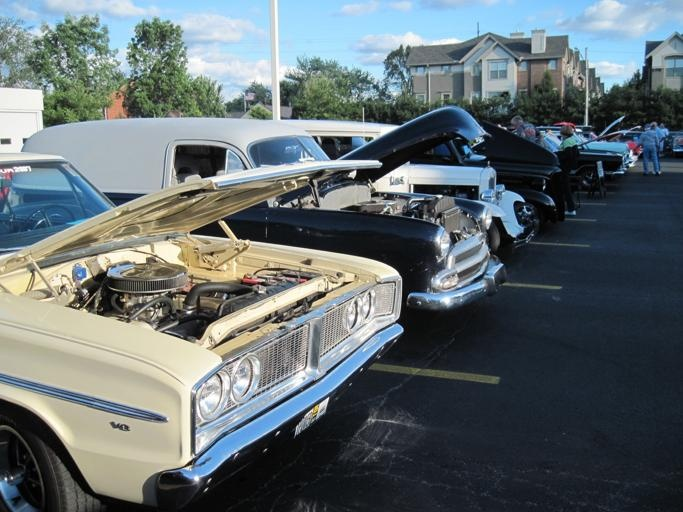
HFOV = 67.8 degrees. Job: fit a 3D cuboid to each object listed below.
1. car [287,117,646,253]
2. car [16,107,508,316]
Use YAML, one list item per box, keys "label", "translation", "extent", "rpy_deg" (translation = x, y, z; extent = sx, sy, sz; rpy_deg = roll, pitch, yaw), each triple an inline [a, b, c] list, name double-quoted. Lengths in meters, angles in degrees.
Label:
- label: "car"
  translation: [2.001, -1.405, 10.200]
  extent: [6.408, 2.348, 2.763]
  rpy_deg: [1, 17, 8]
- label: "car"
  translation: [-1.419, -0.755, 6.424]
  extent: [6.514, 1.755, 2.447]
  rpy_deg: [3, 13, 15]
